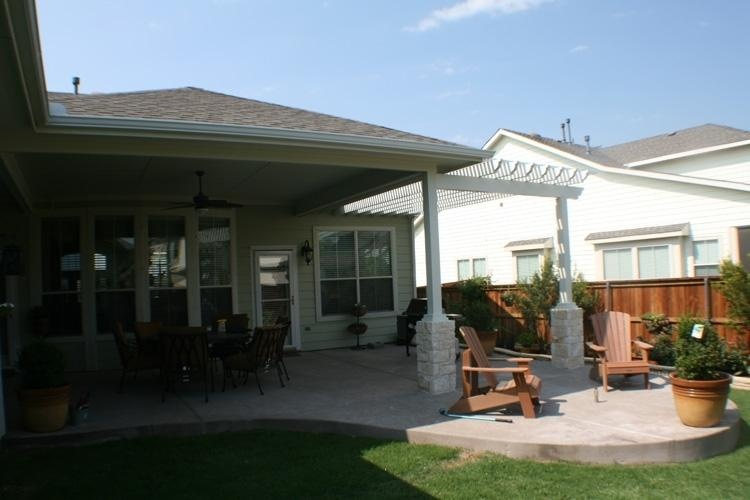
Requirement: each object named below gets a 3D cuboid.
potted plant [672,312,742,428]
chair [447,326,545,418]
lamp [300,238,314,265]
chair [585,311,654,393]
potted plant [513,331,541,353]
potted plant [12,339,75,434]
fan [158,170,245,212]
[{"bbox_3d":[4.500,1.682,7.878,0.729,1.391,0.701,-13,19,-34],"label":"potted plant"},{"bbox_3d":[1.874,1.833,8.756,1.366,1.056,1.032,-2,-1,23],"label":"chair"},{"bbox_3d":[-1.626,0.041,13.642,0.275,0.573,0.297,3,16,17],"label":"lamp"},{"bbox_3d":[4.299,1.719,9.968,0.959,0.979,1.197,-4,5,4],"label":"chair"},{"bbox_3d":[3.434,2.030,12.746,0.525,0.456,0.481,3,-3,1],"label":"potted plant"},{"bbox_3d":[-4.735,1.918,8.094,0.666,1.264,0.559,-11,18,-30],"label":"potted plant"},{"bbox_3d":[-3.127,-0.911,10.690,1.234,0.528,1.066,-1,-4,-13],"label":"fan"}]
